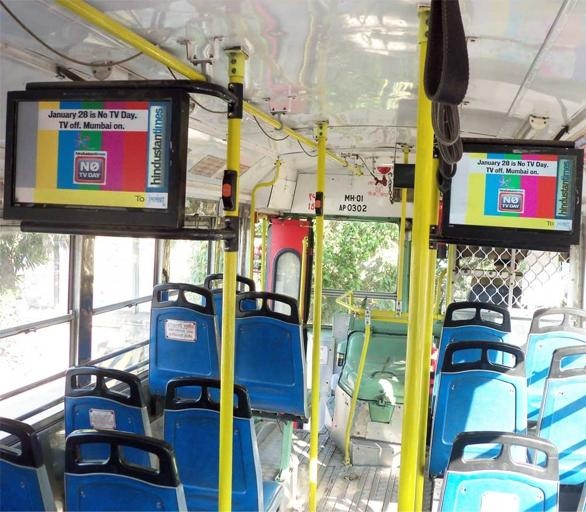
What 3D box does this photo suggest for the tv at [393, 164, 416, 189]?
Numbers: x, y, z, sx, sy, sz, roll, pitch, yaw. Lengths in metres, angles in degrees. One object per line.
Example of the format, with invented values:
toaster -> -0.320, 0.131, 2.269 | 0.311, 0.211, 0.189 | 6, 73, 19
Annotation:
tv -> 1.048, -0.786, 5.192 | 0.185, 0.190, 0.370 | 4, -2, 8

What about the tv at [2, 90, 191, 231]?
tv -> -0.904, -0.450, 2.552 | 0.599, 0.518, 0.090 | 1, -5, 9
